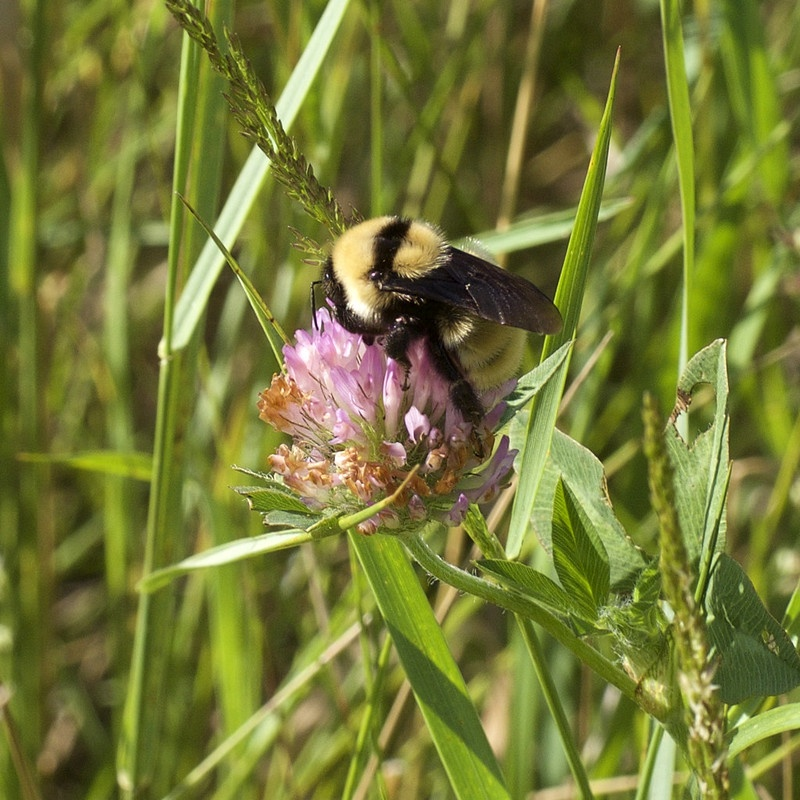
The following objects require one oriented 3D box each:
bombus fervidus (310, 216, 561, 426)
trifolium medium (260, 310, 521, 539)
[{"bbox_3d":[0.045,-0.170,1.859,0.410,0.270,0.168,38,-51,20],"label":"bombus fervidus"},{"bbox_3d":[-0.008,0.004,1.963,0.442,0.496,0.280,-27,-62,13],"label":"trifolium medium"}]
